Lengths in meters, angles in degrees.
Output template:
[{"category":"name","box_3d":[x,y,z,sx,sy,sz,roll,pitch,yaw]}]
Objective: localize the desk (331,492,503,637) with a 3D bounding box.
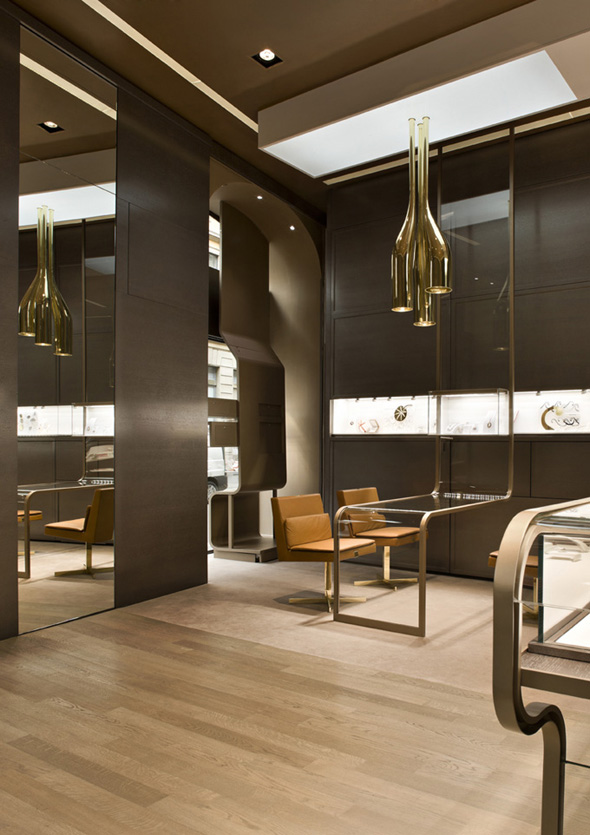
[{"category":"desk","box_3d":[1.033,0.993,5.028,0.563,0.792,1.839,1,0,31]}]

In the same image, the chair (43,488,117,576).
[{"category":"chair","box_3d":[-1.403,0.735,4.413,0.309,0.630,0.430,3,1,2]}]

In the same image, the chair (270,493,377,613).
[{"category":"chair","box_3d":[0.248,0.993,5.115,0.722,1.098,0.708,-1,-2,32]}]

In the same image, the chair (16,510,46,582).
[{"category":"chair","box_3d":[-1.569,0.727,3.933,0.156,0.329,0.200,2,1,17]}]

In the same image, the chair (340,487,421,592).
[{"category":"chair","box_3d":[0.686,0.965,5.254,0.551,0.795,0.493,0,-6,-42]}]

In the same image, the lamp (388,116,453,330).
[{"category":"lamp","box_3d":[0.794,-1.245,4.131,0.361,1.308,0.246,-1,-3,26]}]
